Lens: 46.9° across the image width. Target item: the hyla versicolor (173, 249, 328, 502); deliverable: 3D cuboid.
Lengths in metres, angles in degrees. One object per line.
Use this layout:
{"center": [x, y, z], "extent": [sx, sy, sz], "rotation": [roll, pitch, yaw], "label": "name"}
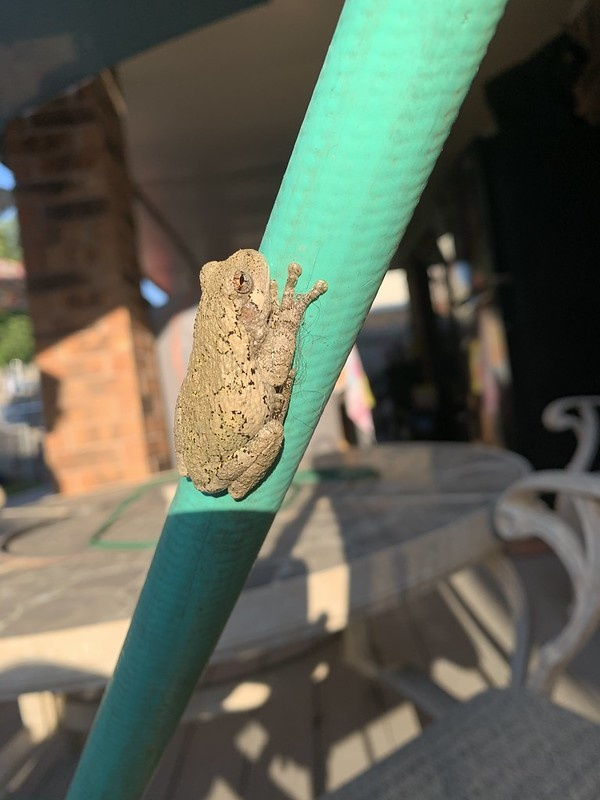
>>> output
{"center": [-0.039, -0.017, 0.499], "extent": [0.067, 0.116, 0.158], "rotation": [3, 102, -43], "label": "hyla versicolor"}
